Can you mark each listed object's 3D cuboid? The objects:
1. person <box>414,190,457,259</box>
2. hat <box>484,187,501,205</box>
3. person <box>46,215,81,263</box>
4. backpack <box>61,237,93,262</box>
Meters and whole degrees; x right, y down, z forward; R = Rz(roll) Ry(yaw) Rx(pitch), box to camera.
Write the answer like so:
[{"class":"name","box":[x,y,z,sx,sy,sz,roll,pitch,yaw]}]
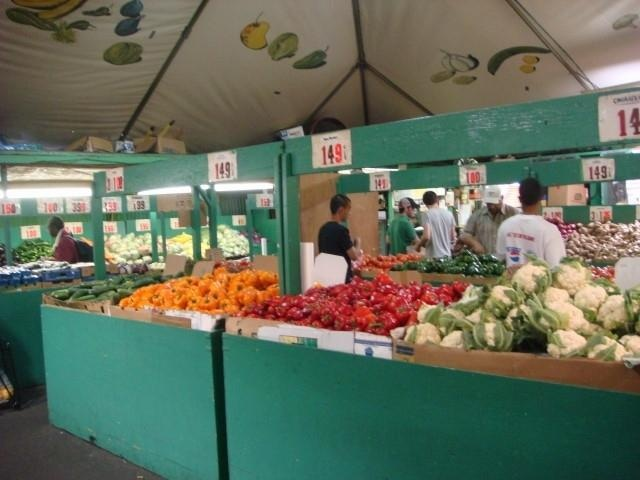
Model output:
[{"class":"person","box":[1.781,0.072,7.140,0.562,1.539,0.512,-7,17,-1]},{"class":"hat","box":[2.395,-0.596,6.266,0.261,0.206,0.432,3,10,23]},{"class":"person","box":[-4.181,-0.008,7.613,0.324,0.706,0.985,-6,4,-32]},{"class":"backpack","box":[-4.072,0.169,7.813,0.381,0.282,0.530,17,-3,17]}]
